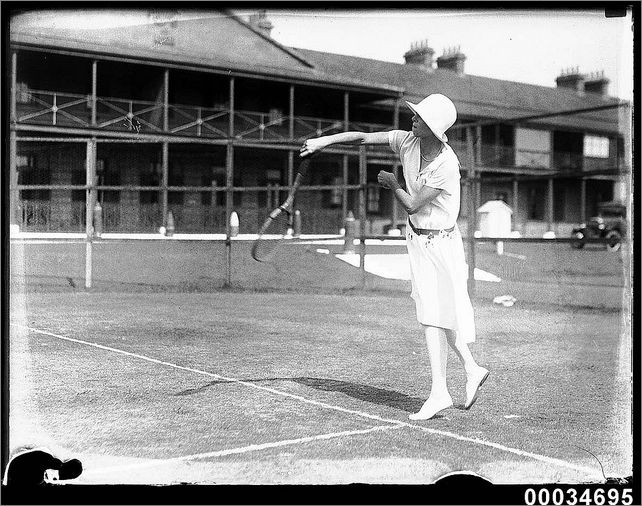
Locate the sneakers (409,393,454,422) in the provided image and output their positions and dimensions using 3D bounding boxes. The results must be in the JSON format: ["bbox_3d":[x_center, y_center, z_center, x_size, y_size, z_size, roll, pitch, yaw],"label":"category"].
[{"bbox_3d":[0.841,1.176,7.465,0.411,0.177,0.147,-22,-1,26],"label":"sneakers"}]

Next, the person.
[{"bbox_3d":[0.754,0.026,7.492,1.089,2.464,0.549,2,8,14],"label":"person"}]

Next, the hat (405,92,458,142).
[{"bbox_3d":[0.831,-1.014,7.359,0.350,0.368,0.214,1,8,2],"label":"hat"}]
